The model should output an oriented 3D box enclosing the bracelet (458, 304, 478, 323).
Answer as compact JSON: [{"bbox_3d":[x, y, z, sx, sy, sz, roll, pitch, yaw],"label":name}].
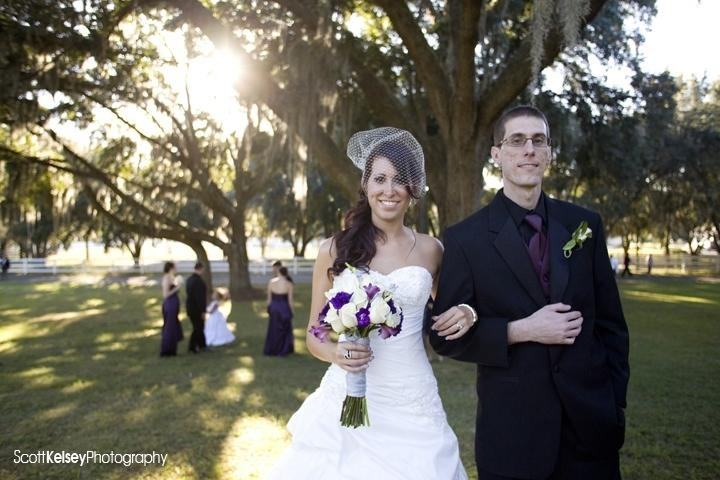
[{"bbox_3d":[1.423,0.947,7.450,0.149,0.243,0.237,-14,47,-14],"label":"bracelet"}]

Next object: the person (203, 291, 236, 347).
[{"bbox_3d":[-3.810,1.948,15.139,0.854,1.502,0.684,-7,13,-40],"label":"person"}]

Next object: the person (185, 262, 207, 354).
[{"bbox_3d":[-4.181,1.692,14.427,0.472,2.152,0.684,1,10,7],"label":"person"}]

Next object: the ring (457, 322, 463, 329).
[{"bbox_3d":[1.296,1.100,7.385,0.082,0.090,0.023,2,10,11],"label":"ring"}]
